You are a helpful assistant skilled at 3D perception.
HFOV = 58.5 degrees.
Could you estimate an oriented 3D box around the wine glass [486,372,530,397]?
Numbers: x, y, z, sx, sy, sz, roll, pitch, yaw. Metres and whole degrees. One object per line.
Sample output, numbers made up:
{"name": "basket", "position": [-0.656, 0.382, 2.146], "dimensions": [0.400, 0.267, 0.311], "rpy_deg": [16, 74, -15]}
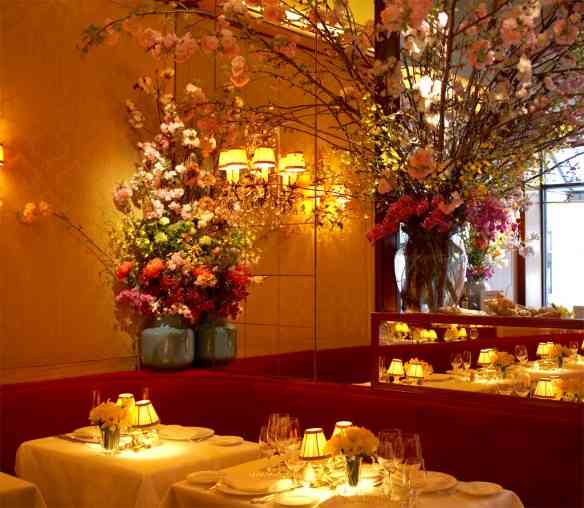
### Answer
{"name": "wine glass", "position": [1.043, 0.638, 2.508], "dimensions": [0.183, 0.130, 0.128], "rpy_deg": [-6, -51, 15]}

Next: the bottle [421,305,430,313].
{"name": "bottle", "position": [0.661, 0.279, 2.624], "dimensions": [0.037, 0.041, 0.038], "rpy_deg": [-2, -7, 13]}

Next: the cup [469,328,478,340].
{"name": "cup", "position": [0.871, 0.393, 2.535], "dimensions": [0.040, 0.061, 0.044], "rpy_deg": [0, -5, 0]}

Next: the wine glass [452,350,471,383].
{"name": "wine glass", "position": [0.846, 0.572, 2.634], "dimensions": [0.092, 0.161, 0.157], "rpy_deg": [-2, -7, 18]}
